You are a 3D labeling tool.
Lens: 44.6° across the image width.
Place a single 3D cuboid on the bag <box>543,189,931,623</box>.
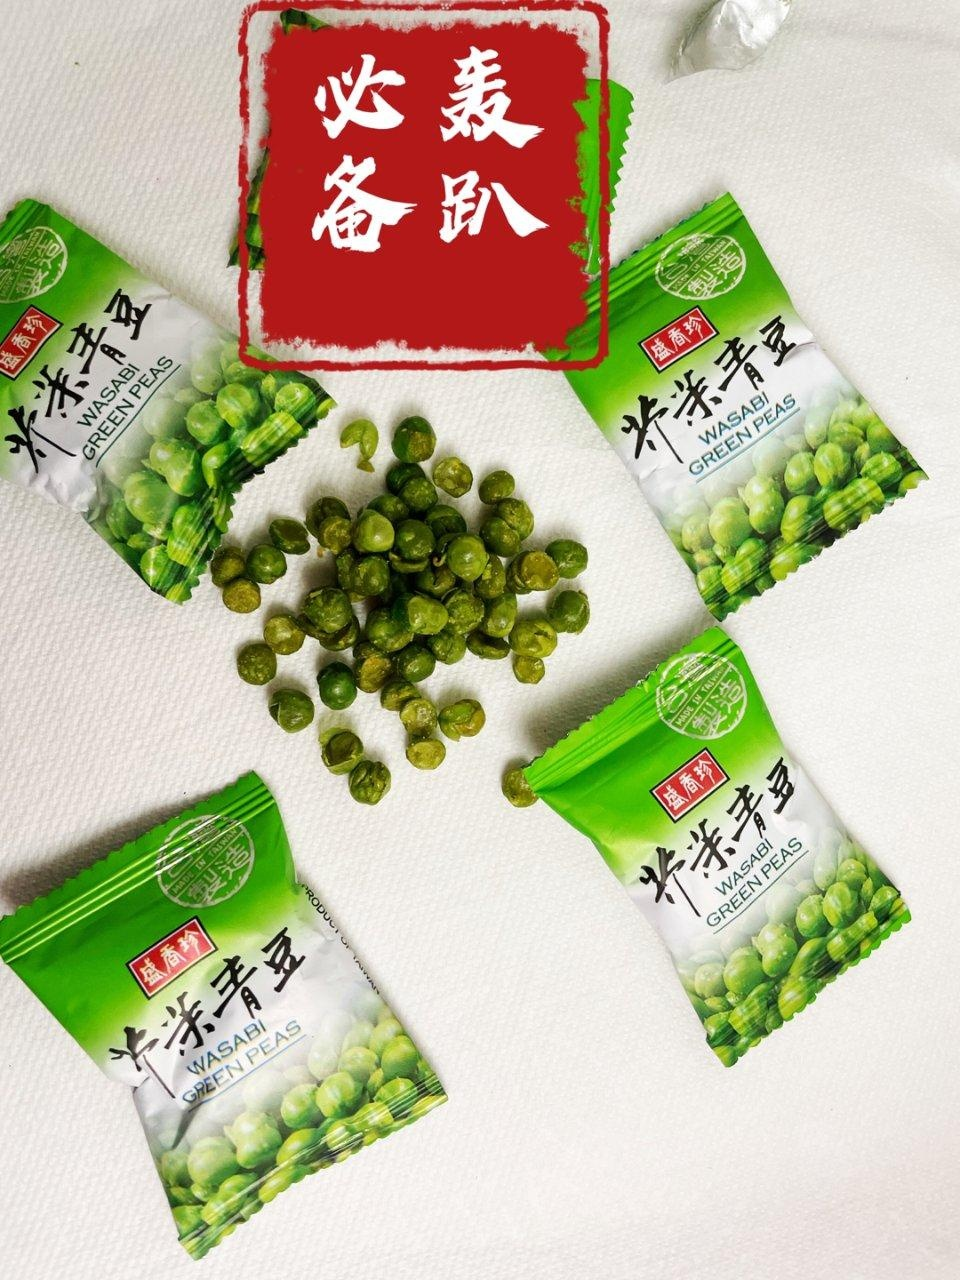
[{"bbox_3d":[0.275,-0.253,1.320,0.337,0.077,0.435,-35,93,-1],"label":"bag"}]
